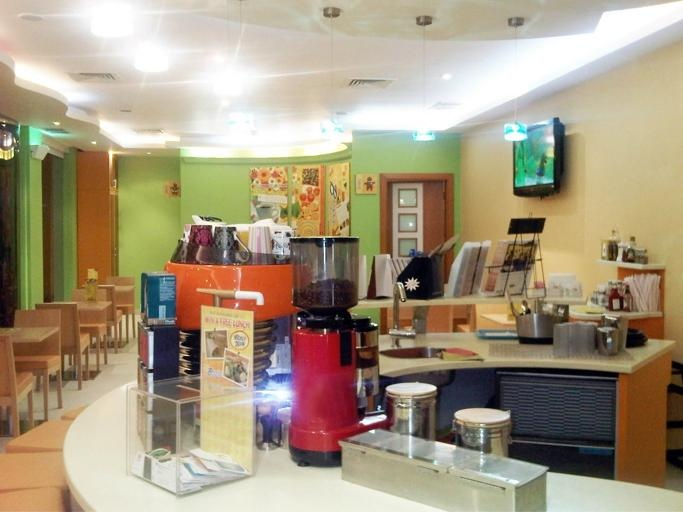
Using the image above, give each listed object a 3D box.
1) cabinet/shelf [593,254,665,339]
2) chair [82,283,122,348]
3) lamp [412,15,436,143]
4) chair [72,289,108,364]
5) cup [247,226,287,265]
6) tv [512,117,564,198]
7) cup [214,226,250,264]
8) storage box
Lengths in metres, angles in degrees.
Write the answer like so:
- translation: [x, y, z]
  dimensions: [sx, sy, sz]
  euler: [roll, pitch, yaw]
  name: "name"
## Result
- translation: [2.228, 0.317, 4.424]
  dimensions: [0.221, 0.620, 0.659]
  euler: [0, -2, 6]
  name: "cabinet/shelf"
- translation: [-3.166, 0.788, 8.093]
  dimensions: [0.457, 0.753, 0.454]
  euler: [0, 6, 10]
  name: "chair"
- translation: [0.876, -1.846, 5.989]
  dimensions: [0.246, 1.242, 0.250]
  euler: [-1, 18, 10]
  name: "lamp"
- translation: [-3.053, 0.868, 7.052]
  dimensions: [0.337, 0.504, 0.346]
  euler: [7, -4, -19]
  name: "chair"
- translation: [-0.313, -0.041, 2.438]
  dimensions: [0.168, 0.160, 0.138]
  euler: [3, -5, -35]
  name: "cup"
- translation: [2.123, -1.053, 6.187]
  dimensions: [0.147, 1.029, 0.931]
  euler: [2, 2, -16]
  name: "tv"
- translation: [-0.442, -0.044, 2.331]
  dimensions: [0.145, 0.144, 0.073]
  euler: [-2, 8, -11]
  name: "cup"
- translation: [-0.495, 0.559, 1.972]
  dimensions: [0.352, 0.326, 0.349]
  euler: [0, 3, -44]
  name: "storage box"
